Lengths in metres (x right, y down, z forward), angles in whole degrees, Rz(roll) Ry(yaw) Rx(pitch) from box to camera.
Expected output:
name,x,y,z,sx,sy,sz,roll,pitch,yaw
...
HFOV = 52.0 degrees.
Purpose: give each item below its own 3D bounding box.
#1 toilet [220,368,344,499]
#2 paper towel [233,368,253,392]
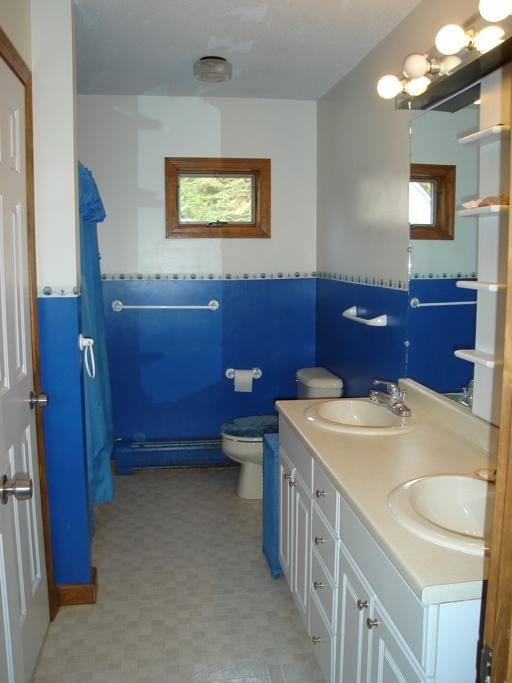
name,x,y,z,sx,sy,sz,roll,pitch,yaw
toilet,0.168,0.534,3.434,0.788,0.987,0.579,1,5,-5
paper towel,-0.080,0.266,3.616,0.149,0.165,0.125,2,26,0
